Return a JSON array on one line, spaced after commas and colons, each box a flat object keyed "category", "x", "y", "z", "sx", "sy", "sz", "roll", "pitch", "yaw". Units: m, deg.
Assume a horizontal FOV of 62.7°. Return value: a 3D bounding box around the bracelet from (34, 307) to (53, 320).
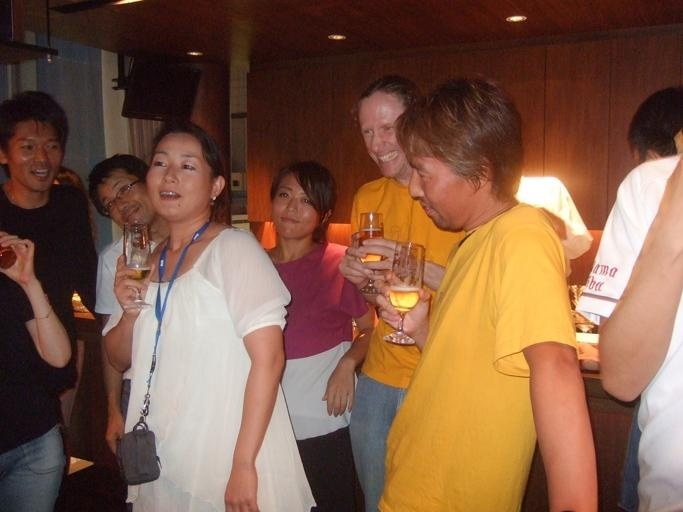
[{"category": "bracelet", "x": -1.257, "y": 0.243, "z": 2.361, "sx": 0.044, "sy": 0.050, "sz": 0.046, "roll": 2, "pitch": 5, "yaw": 10}]
